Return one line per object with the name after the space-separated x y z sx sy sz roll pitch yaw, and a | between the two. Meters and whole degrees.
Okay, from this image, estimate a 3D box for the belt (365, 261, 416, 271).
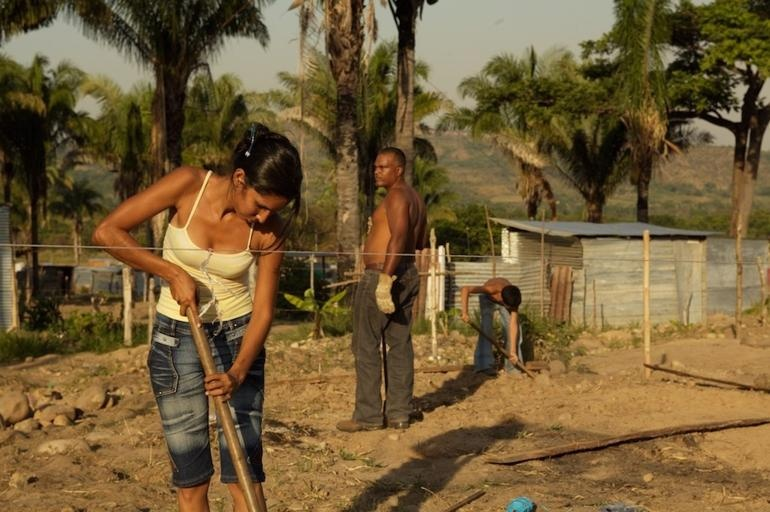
0.108 0.181 23.443 1.025 0.281 0.233 -1 1 -3 | belt

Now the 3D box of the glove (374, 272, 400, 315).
0.036 0.763 23.318 0.450 0.876 0.306 -2 1 -15 | glove
